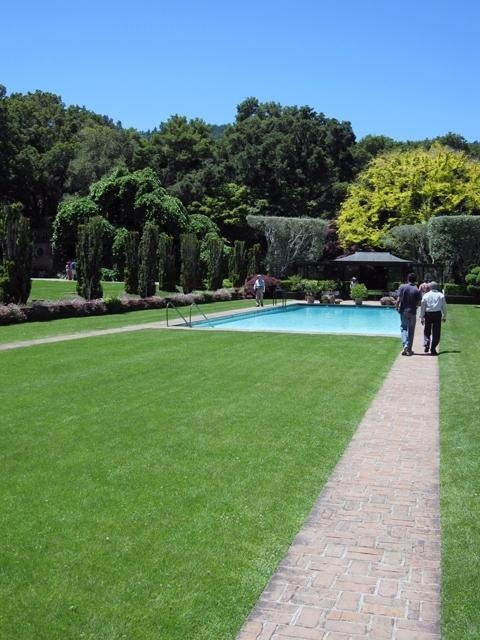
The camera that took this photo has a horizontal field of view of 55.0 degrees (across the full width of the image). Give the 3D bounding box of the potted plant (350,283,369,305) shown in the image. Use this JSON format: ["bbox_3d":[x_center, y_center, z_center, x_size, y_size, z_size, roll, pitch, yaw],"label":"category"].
[{"bbox_3d":[9.666,-2.026,38.013,0.959,1.752,1.692,-1,1,25],"label":"potted plant"}]

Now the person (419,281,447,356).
[{"bbox_3d":[6.023,0.087,14.442,0.657,2.031,1.123,-1,1,22],"label":"person"}]

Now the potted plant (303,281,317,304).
[{"bbox_3d":[6.023,-2.372,39.692,1.063,2.052,3.342,-1,1,7],"label":"potted plant"}]
